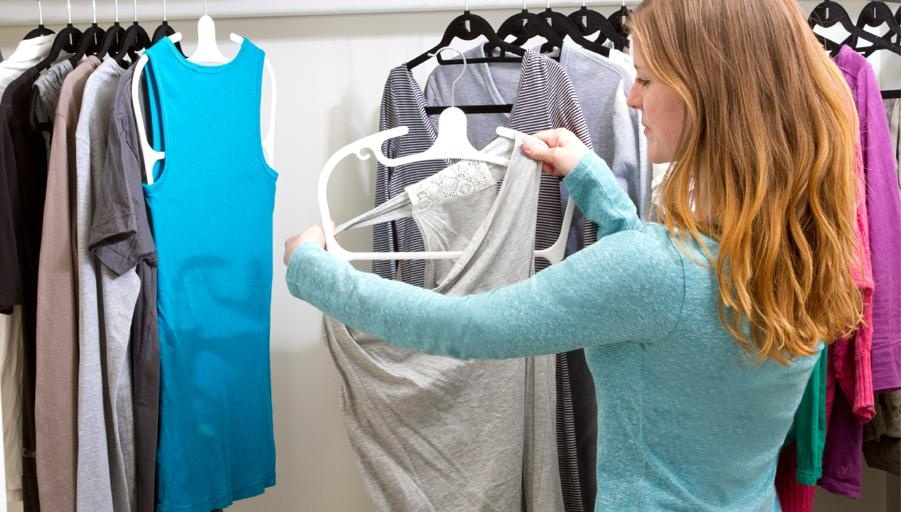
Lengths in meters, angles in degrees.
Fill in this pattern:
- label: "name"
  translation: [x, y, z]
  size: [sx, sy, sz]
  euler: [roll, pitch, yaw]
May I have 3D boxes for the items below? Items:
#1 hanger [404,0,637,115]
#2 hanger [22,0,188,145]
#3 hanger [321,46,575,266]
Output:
- label: "hanger"
  translation: [0.253, -0.643, 2.604]
  size: [0.615, 0.371, 0.016]
  euler: [0, 0, 14]
- label: "hanger"
  translation: [-1.168, -0.621, 2.623]
  size: [0.526, 0.437, 0.283]
  euler: [-14, 12, -19]
- label: "hanger"
  translation: [0.020, -0.330, 2.488]
  size: [0.867, 1.065, 0.123]
  euler: [0, -4, 22]
